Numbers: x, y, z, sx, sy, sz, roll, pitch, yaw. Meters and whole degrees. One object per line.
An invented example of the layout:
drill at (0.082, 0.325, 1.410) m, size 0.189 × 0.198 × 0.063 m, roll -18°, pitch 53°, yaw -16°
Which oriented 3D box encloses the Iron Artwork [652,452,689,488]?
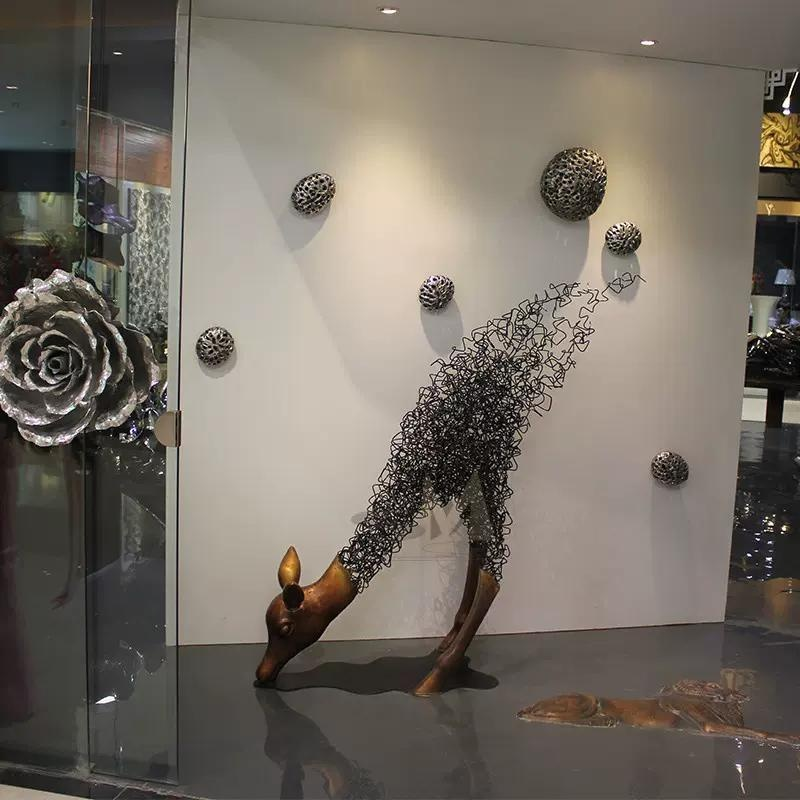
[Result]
Iron Artwork at (1.053, 0.274, 3.083) m, size 0.160 × 0.147 × 0.055 m, roll -1°, pitch 9°, yaw -11°

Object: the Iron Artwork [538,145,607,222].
Iron Artwork at (0.634, -0.777, 2.882) m, size 0.258 × 0.255 × 0.122 m, roll 2°, pitch 9°, yaw 2°

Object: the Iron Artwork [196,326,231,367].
Iron Artwork at (-0.652, -0.183, 2.802) m, size 0.135 × 0.149 × 0.058 m, roll -2°, pitch 10°, yaw -18°

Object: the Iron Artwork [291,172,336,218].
Iron Artwork at (-0.298, -0.712, 2.743) m, size 0.149 × 0.121 × 0.054 m, roll -33°, pitch 22°, yaw 1°

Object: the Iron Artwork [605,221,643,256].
Iron Artwork at (0.835, -0.591, 2.946) m, size 0.146 × 0.125 × 0.064 m, roll -3°, pitch 10°, yaw -20°

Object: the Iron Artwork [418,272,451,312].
Iron Artwork at (0.128, -0.389, 2.895) m, size 0.118 × 0.112 × 0.098 m, roll -33°, pitch -10°, yaw -12°

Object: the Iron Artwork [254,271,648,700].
Iron Artwork at (0.187, 0.247, 2.792) m, size 1.409 × 1.379 × 0.454 m, roll -3°, pitch 10°, yaw -22°
